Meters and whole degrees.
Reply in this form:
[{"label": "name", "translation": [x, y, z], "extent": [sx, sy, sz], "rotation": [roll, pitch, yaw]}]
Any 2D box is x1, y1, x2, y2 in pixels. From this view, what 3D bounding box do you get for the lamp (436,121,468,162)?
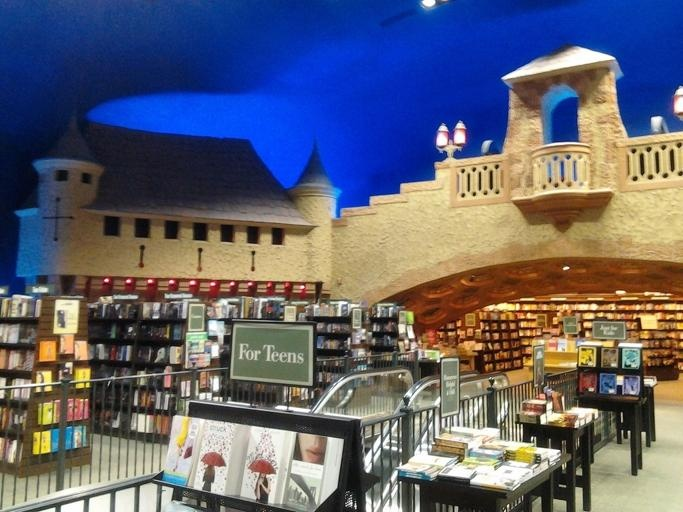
[{"label": "lamp", "translation": [3.466, -3.611, 18.115], "extent": [1.028, 1.360, 0.486], "rotation": [-6, 33, -2]}]
